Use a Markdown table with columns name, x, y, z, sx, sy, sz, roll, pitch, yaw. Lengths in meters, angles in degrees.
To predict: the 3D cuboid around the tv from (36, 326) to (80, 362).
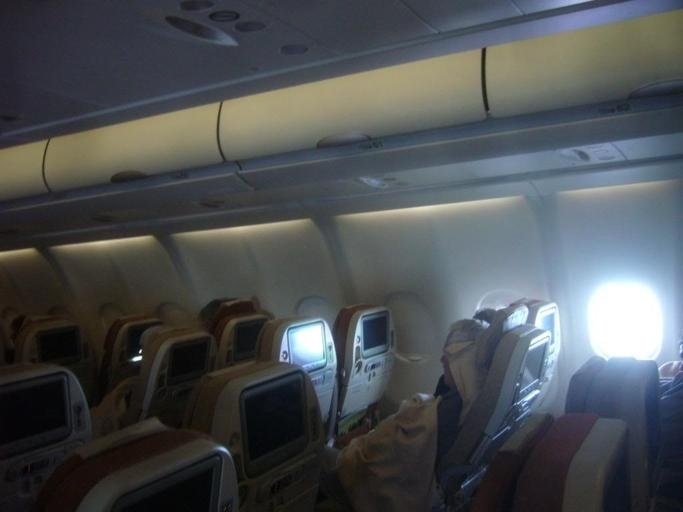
| name | x | y | z | sx | sy | sz | roll | pitch | yaw |
| --- | --- | --- | --- | --- | --- | --- | --- | --- | --- |
| tv | -3.343 | 1.026 | 5.778 | 0.263 | 0.405 | 0.488 | 0 | 0 | 29 |

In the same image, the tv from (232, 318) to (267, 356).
| name | x | y | z | sx | sy | sz | roll | pitch | yaw |
| --- | --- | --- | --- | --- | --- | --- | --- | --- | --- |
| tv | -0.924 | 0.807 | 4.887 | 0.210 | 0.352 | 0.390 | 24 | 19 | 28 |

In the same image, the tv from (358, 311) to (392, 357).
| name | x | y | z | sx | sy | sz | roll | pitch | yaw |
| --- | --- | --- | --- | --- | --- | --- | --- | --- | --- |
| tv | 0.340 | 0.829 | 5.237 | 0.068 | 0.385 | 0.556 | 0 | 0 | 30 |

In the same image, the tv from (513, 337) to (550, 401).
| name | x | y | z | sx | sy | sz | roll | pitch | yaw |
| --- | --- | --- | --- | --- | --- | --- | --- | --- | --- |
| tv | 1.377 | 0.810 | 3.600 | 0.059 | 0.578 | 0.514 | 15 | 24 | 33 |

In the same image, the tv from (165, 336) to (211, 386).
| name | x | y | z | sx | sy | sz | roll | pitch | yaw |
| --- | --- | --- | --- | --- | --- | --- | --- | --- | --- |
| tv | -1.387 | 0.929 | 4.395 | 0.068 | 0.345 | 0.500 | 9 | 7 | 29 |
